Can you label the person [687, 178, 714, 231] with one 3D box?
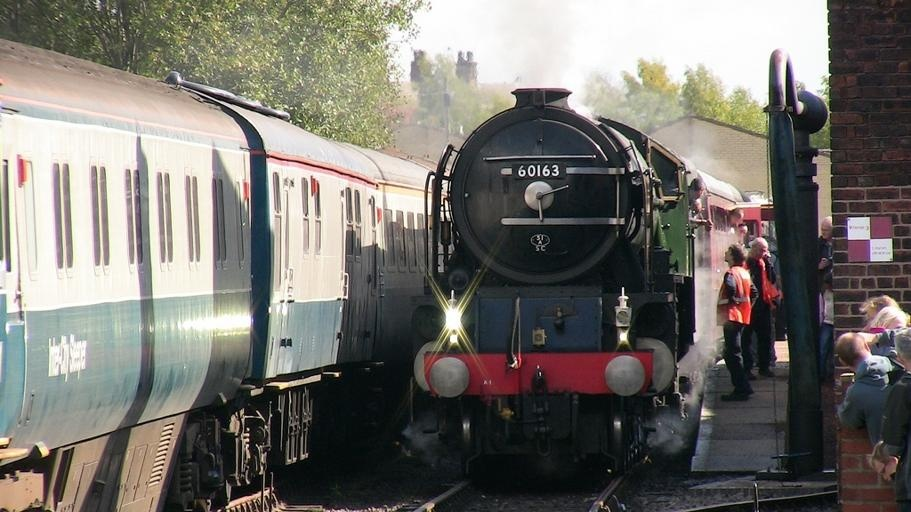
[{"bbox_3d":[4.280,-0.873,15.141,0.523,0.425,1.232,1,-22,10],"label":"person"}]
